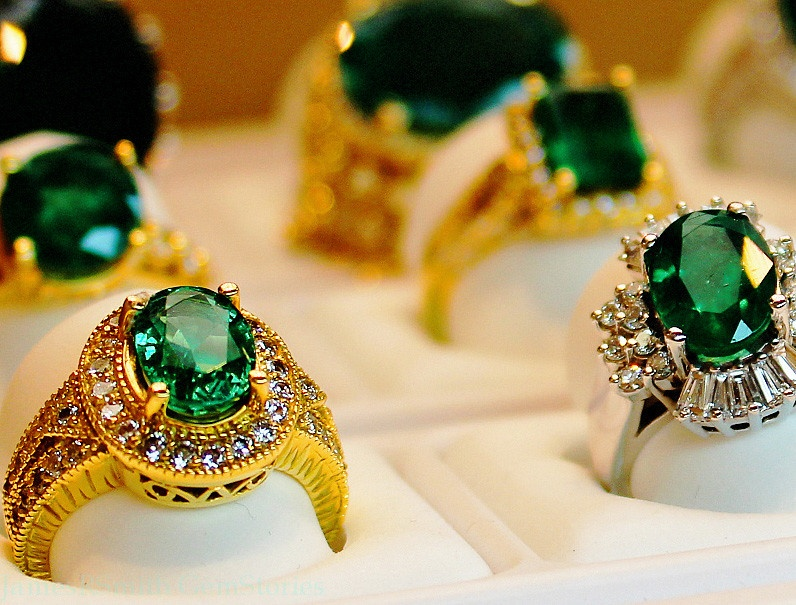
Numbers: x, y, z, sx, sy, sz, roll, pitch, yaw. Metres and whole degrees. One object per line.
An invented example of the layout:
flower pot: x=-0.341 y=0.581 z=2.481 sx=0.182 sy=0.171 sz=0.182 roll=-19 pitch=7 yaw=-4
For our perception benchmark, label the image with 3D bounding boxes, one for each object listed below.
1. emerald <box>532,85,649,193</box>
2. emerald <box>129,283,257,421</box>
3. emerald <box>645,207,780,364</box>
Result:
emerald: x=0.309 y=-0.261 z=1.438 sx=0.177 sy=0.158 sz=0.116 roll=-6 pitch=22 yaw=9
emerald: x=-0.199 y=0.052 z=0.872 sx=0.114 sy=0.131 sz=0.067 roll=-28 pitch=-5 yaw=-22
emerald: x=0.326 y=-0.026 z=0.939 sx=0.123 sy=0.158 sz=0.083 roll=-15 pitch=-9 yaw=11
